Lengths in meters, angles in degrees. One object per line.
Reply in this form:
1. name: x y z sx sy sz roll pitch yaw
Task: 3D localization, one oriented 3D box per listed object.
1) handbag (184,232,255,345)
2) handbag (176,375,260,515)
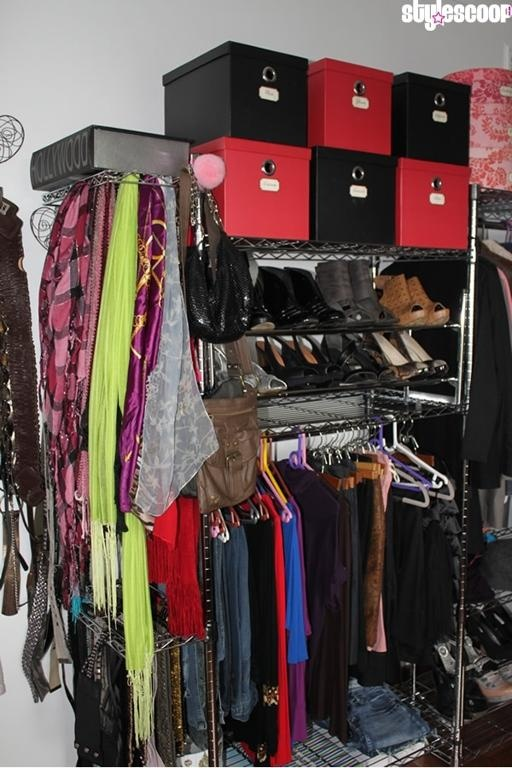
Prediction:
1. handbag: -0.077 -0.196 1.345 0.155 0.216 0.079 -6 8 -12
2. handbag: -0.070 0.130 1.402 0.180 0.281 0.086 -5 3 -39
